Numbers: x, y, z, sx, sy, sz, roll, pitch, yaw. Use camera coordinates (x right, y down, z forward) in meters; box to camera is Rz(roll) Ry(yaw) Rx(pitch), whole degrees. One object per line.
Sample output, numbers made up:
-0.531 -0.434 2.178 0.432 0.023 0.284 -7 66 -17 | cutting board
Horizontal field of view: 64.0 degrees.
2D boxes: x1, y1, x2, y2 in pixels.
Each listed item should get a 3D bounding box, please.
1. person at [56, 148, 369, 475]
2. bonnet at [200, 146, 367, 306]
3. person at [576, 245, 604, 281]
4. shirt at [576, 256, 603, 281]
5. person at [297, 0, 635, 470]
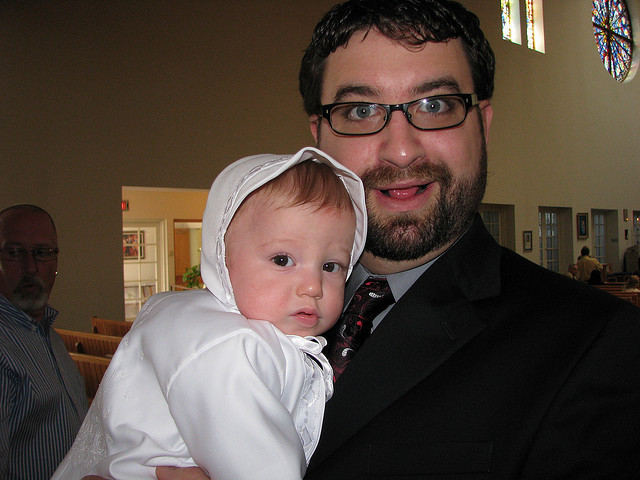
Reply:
-0.271 0.200 1.633 0.887 0.950 0.563 -1 0 1 | person
-0.120 -0.046 1.805 0.582 0.518 0.241 -1 0 -16 | bonnet
5.467 0.652 10.330 0.375 1.103 0.452 -19 15 -39 | person
5.408 0.573 10.161 0.393 0.511 0.713 -1 0 18 | shirt
0.442 -0.079 1.754 0.992 1.578 0.674 -1 0 2 | person
